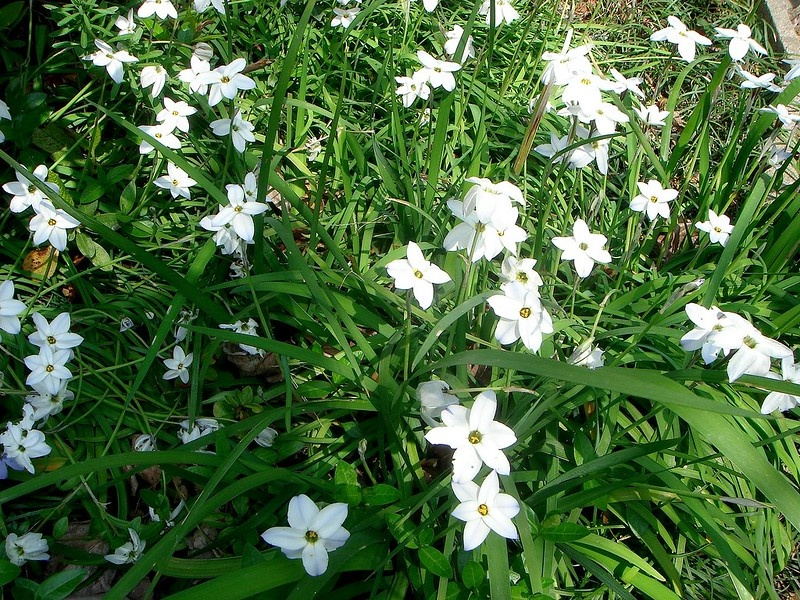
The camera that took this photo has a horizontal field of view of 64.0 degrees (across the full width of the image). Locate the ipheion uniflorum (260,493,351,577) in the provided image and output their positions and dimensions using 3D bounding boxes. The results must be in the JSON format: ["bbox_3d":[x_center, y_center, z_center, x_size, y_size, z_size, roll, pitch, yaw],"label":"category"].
[{"bbox_3d":[-0.328,0.842,2.304,0.274,0.243,0.220,23,43,6],"label":"ipheion uniflorum"}]

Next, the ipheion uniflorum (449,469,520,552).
[{"bbox_3d":[0.298,0.735,2.237,0.226,0.169,0.197,-1,47,-19],"label":"ipheion uniflorum"}]

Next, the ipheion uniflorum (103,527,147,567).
[{"bbox_3d":[-1.122,1.011,2.619,0.144,0.158,0.067,3,5,-22],"label":"ipheion uniflorum"}]

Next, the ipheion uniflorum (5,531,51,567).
[{"bbox_3d":[-1.516,1.001,2.631,0.150,0.154,0.078,-20,17,-26],"label":"ipheion uniflorum"}]
